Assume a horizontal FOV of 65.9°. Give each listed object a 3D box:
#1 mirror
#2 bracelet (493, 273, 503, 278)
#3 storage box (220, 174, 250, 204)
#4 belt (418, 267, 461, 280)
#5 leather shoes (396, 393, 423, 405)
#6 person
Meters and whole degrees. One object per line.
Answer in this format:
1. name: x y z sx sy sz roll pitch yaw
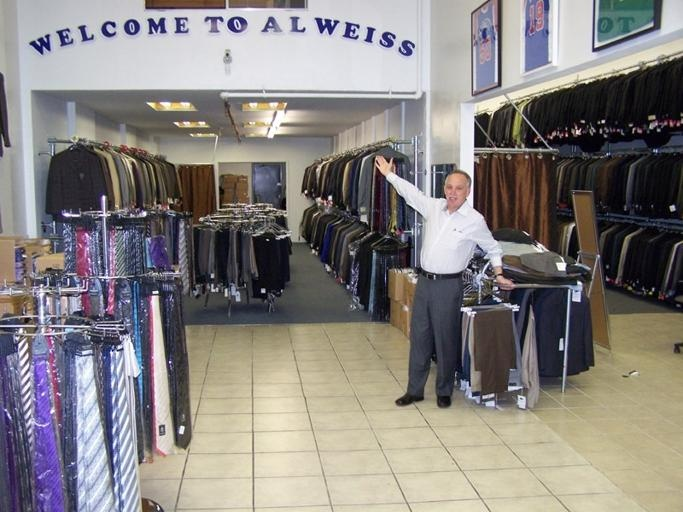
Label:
1. mirror: 2.763 0.154 5.872 0.316 1.734 0.417 -2 8 -14
2. bracelet: 1.313 0.162 4.438 0.050 0.035 0.051 2 -12 36
3. storage box: -3.175 -2.010 15.764 0.878 0.853 0.328 -2 8 -14
4. belt: 0.833 0.156 4.519 0.362 0.086 0.149 3 9 21
5. leather shoes: 0.610 1.251 4.641 0.247 0.112 0.097 2 -3 -23
6. person: 0.904 0.275 4.634 0.948 2.014 0.583 0 8 4
